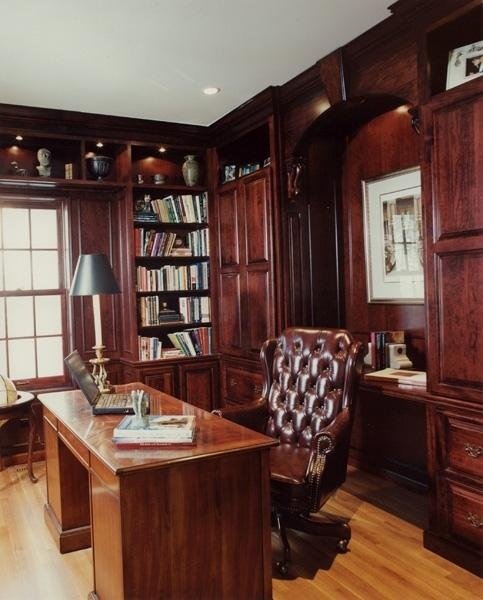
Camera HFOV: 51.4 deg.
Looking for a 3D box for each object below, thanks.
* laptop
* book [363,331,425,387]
[{"bbox_3d":[-0.645,0.414,2.402,0.338,0.213,0.367,-2,5,-10],"label":"laptop"},{"bbox_3d":[0.934,0.349,3.028,0.302,0.184,0.302,-2,1,-32],"label":"book"}]
